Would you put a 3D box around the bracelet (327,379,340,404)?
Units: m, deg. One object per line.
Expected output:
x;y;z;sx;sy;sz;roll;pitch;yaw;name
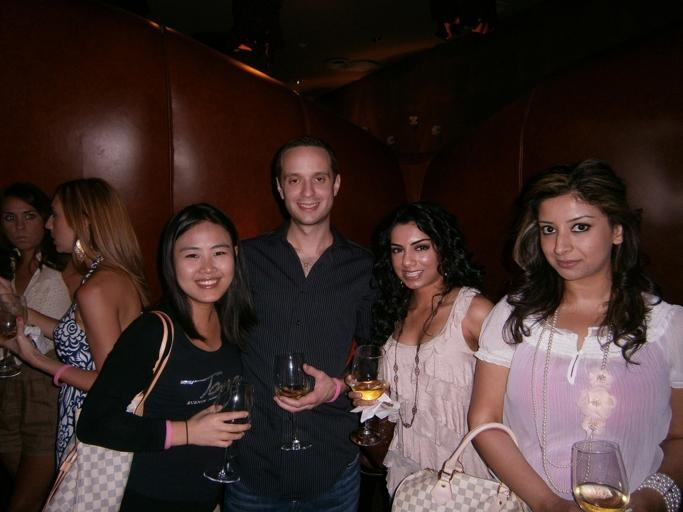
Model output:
-0.036;0.798;3.216;0.046;0.132;0.095;7;9;10;bracelet

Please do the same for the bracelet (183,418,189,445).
-0.788;0.895;2.762;0.022;0.105;0.056;-2;3;-17;bracelet

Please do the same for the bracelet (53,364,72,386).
-1.672;0.715;3.229;0.032;0.123;0.099;23;17;-15;bracelet

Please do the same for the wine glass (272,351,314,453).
-0.270;0.845;3.109;0.213;0.612;0.226;-1;3;-8;wine glass

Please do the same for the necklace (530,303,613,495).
1.243;0.727;2.826;0.304;0.906;0.127;2;-6;24;necklace
